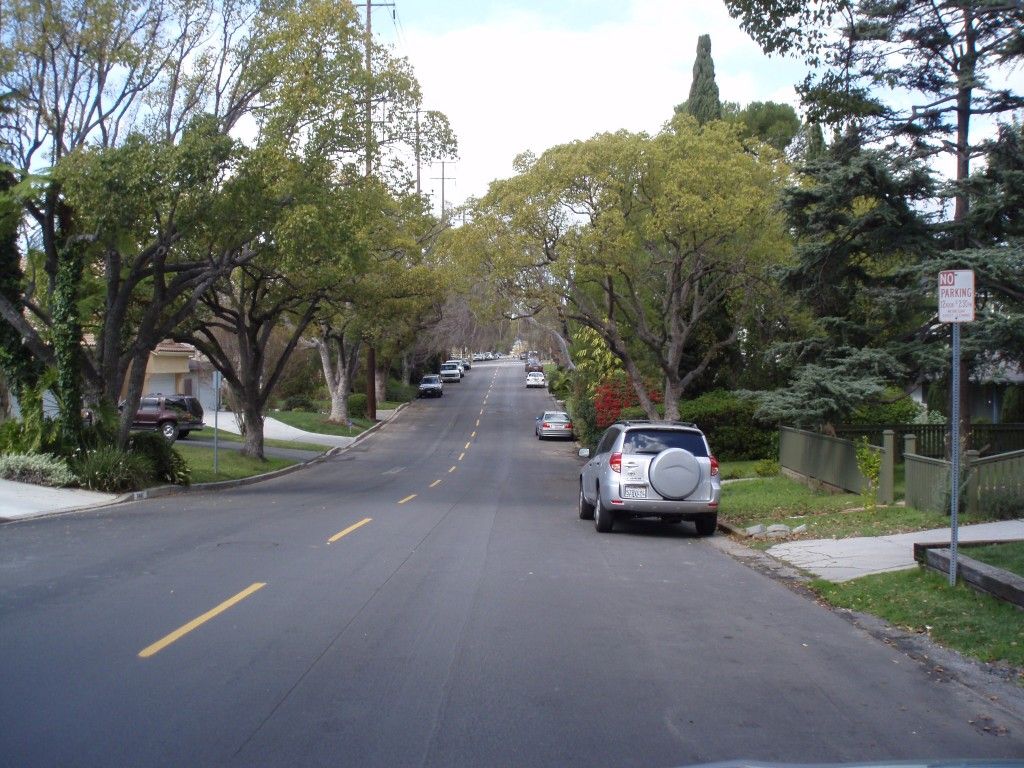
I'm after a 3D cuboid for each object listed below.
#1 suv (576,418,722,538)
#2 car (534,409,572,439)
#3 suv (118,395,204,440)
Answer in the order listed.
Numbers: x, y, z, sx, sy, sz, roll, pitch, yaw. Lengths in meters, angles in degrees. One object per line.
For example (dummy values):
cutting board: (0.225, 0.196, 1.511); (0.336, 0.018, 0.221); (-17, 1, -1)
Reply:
suv: (2.638, 1.781, 17.820); (1.443, 1.475, 3.017); (1, 1, -3)
car: (2.576, 2.504, 52.819); (1.900, 1.591, 1.922); (1, -2, -18)
suv: (-15.035, 1.442, 37.989); (3.122, 1.877, 1.753); (4, -2, -1)
